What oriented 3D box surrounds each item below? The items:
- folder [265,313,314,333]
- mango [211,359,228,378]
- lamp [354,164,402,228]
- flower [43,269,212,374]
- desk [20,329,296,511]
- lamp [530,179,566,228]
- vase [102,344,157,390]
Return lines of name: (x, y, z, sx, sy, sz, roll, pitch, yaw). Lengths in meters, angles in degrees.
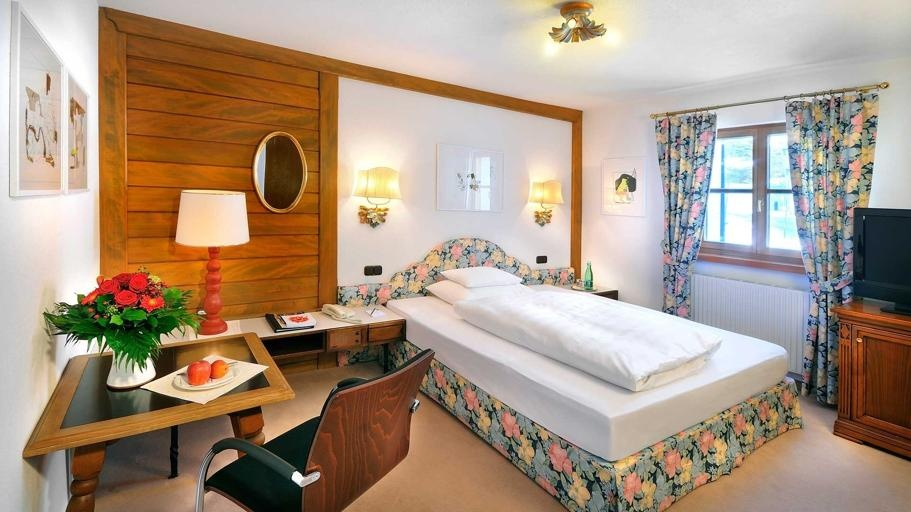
folder: (-1.623, 0.639, 5.253, 0.406, 0.110, 0.410, -4, 7, -30)
mango: (-1.720, 0.819, 3.859, 0.105, 0.097, 0.139, -37, 13, -37)
lamp: (-0.860, -0.646, 5.866, 0.530, 0.666, 0.244, -2, 9, -18)
flower: (-2.442, 0.448, 3.965, 0.871, 0.511, 0.808, 1, 7, -20)
desk: (-2.149, 1.041, 3.891, 1.454, 0.763, 1.366, -2, 7, -25)
lamp: (1.209, -0.691, 6.951, 0.498, 0.596, 0.245, -3, 9, -24)
vase: (-2.369, 0.802, 3.920, 0.329, 0.293, 0.289, -2, 4, -20)
